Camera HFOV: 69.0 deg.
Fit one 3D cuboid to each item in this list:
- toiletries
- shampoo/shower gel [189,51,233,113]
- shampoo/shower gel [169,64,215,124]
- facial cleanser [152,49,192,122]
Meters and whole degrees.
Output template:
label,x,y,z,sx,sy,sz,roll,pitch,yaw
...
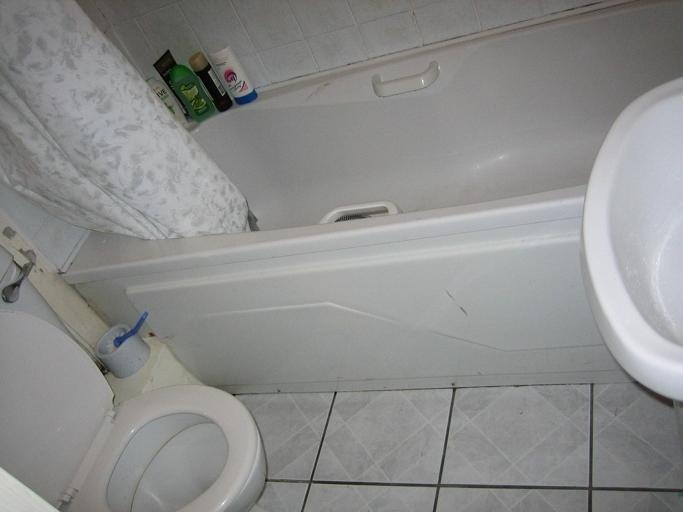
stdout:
label,x,y,z,sx,sy,sz,roll,pitch,yaw
toiletries,-0.519,-0.657,1.787,0.201,0.255,0.275,29,46,30
shampoo/shower gel,-0.473,-0.624,1.848,0.091,0.222,0.097,0,49,26
shampoo/shower gel,-0.566,-0.610,1.832,0.112,0.224,0.067,3,60,39
facial cleanser,-0.583,-0.617,1.854,0.084,0.249,0.158,-1,48,21
